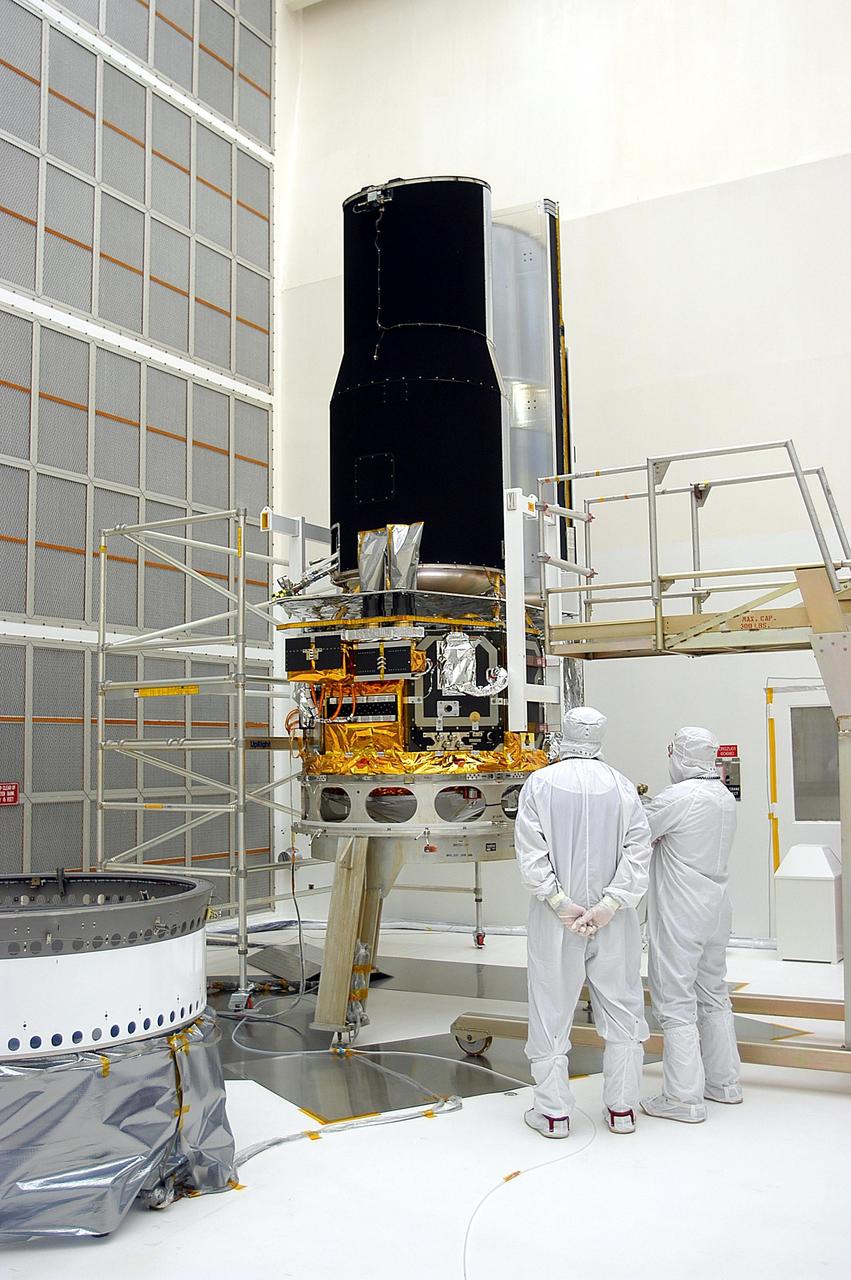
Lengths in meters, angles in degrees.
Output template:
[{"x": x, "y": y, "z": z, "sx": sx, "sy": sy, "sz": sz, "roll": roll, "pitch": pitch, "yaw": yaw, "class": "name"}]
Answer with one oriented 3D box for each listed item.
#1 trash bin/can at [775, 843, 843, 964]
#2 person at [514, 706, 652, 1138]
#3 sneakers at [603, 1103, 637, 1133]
[{"x": 3.228, "y": 2.230, "z": 9.261, "sx": 0.514, "sy": 0.944, "sz": 0.289, "roll": -3, "pitch": -8, "yaw": 21, "class": "trash bin/can"}, {"x": 0.738, "y": 1.260, "z": 5.043, "sx": 0.594, "sy": 1.923, "sz": 0.540, "roll": -2, "pitch": -8, "yaw": 11, "class": "person"}, {"x": 0.879, "y": 2.154, "z": 4.951, "sx": 0.134, "sy": 0.115, "sz": 0.197, "roll": -2, "pitch": -7, "yaw": 8, "class": "sneakers"}]
